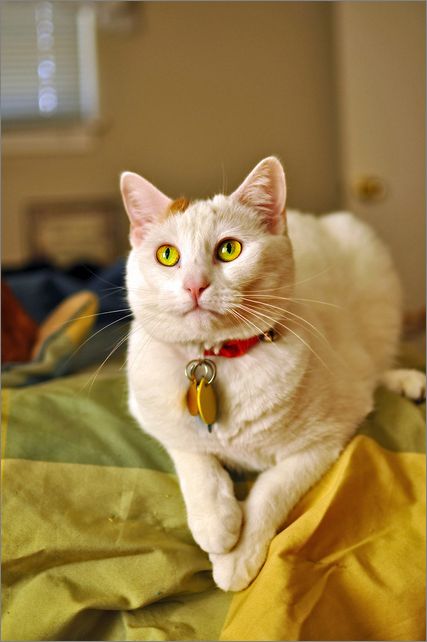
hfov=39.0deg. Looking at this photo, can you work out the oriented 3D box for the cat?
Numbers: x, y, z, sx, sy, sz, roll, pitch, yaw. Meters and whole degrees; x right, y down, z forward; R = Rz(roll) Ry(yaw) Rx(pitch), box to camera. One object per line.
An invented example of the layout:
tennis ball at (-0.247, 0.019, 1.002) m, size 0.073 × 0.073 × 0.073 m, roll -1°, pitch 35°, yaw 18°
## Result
cat at (0.056, 0.003, 0.921) m, size 0.416 × 0.406 × 0.673 m, roll -6°, pitch 26°, yaw 11°
